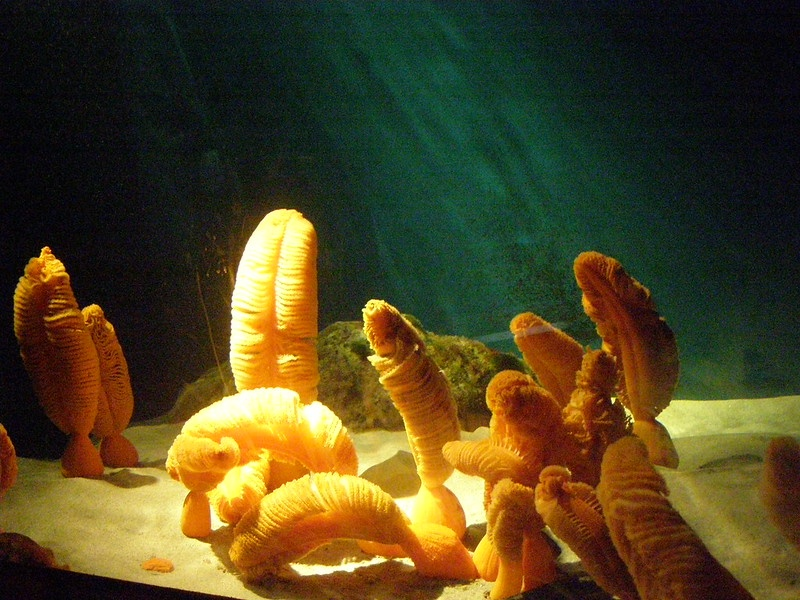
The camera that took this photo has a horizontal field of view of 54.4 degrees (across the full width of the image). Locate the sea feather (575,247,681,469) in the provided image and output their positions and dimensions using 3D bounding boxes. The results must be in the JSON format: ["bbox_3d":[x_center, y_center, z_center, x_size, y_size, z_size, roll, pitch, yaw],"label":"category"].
[{"bbox_3d":[0.678,0.133,2.316,0.190,0.674,0.200,-27,-24,38],"label":"sea feather"}]

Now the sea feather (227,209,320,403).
[{"bbox_3d":[-0.470,0.025,2.883,0.175,0.677,0.318,-1,3,31],"label":"sea feather"}]
